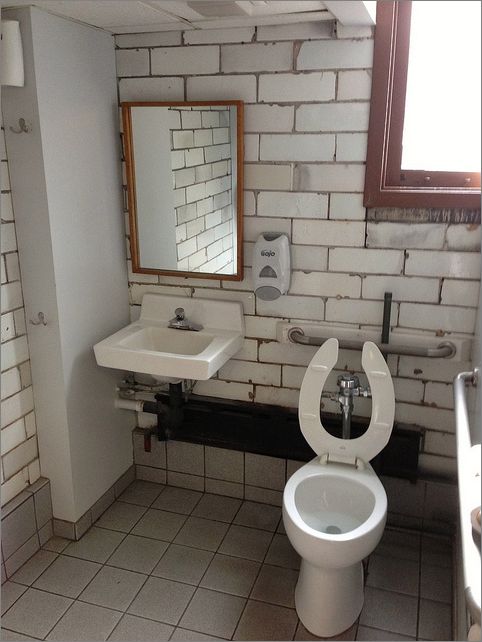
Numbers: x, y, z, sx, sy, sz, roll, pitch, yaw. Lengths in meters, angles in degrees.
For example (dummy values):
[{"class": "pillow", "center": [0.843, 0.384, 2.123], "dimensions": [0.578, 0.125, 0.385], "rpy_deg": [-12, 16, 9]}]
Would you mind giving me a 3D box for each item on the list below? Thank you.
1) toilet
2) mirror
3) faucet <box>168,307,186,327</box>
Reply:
[{"class": "toilet", "center": [0.367, 0.600, 1.867], "dimensions": [0.389, 0.990, 0.636], "rpy_deg": [4, 12, 20]}, {"class": "mirror", "center": [-0.248, -0.624, 2.214], "dimensions": [0.562, 1.059, 0.038], "rpy_deg": [4, 18, 12]}, {"class": "faucet", "center": [-0.297, -0.008, 2.316], "dimensions": [0.062, 0.111, 0.084], "rpy_deg": [11, 22, -1]}]
